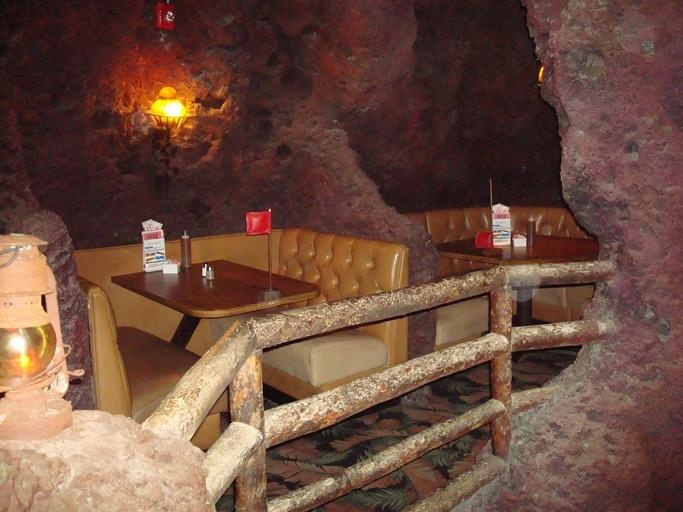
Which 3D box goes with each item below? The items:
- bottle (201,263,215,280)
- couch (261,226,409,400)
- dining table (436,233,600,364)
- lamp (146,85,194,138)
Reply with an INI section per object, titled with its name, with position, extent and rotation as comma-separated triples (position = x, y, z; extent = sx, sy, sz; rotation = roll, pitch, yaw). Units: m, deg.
[bottle]
position = -0.894, 0.100, 3.511
extent = 0.039, 0.095, 0.101
rotation = -8, 11, -37
[couch]
position = -0.093, 0.286, 3.747
extent = 0.971, 1.142, 1.328
rotation = -4, 7, -38
[dining table]
position = 1.511, 0.313, 4.341
extent = 1.162, 0.726, 1.145
rotation = -12, 19, -31
[lamp]
position = -1.261, -1.068, 3.830
extent = 0.286, 0.311, 0.289
rotation = -15, 38, -36
